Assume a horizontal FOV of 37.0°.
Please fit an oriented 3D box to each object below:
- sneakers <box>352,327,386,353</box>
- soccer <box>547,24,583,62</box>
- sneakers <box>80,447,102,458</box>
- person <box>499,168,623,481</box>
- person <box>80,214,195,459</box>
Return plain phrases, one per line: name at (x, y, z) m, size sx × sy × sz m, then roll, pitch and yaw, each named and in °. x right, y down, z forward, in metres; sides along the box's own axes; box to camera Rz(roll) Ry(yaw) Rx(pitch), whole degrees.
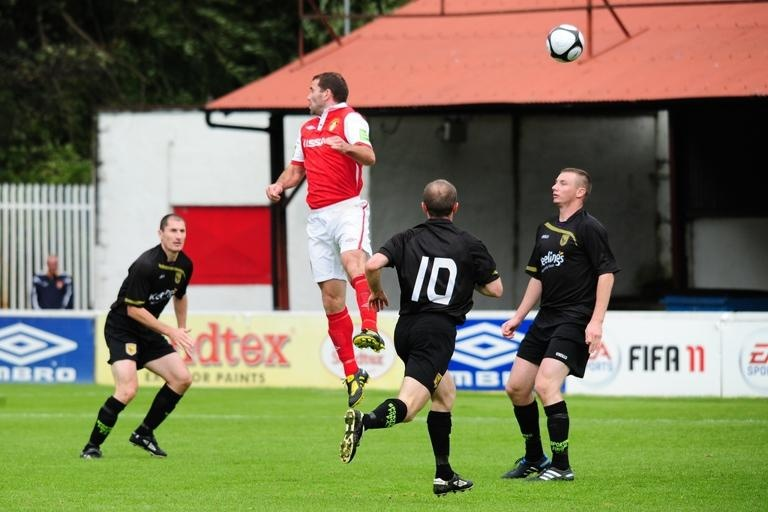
sneakers at (-0.154, 0.991, 13.713) m, size 0.364 × 0.208 × 0.214 m, roll 24°, pitch -33°, yaw -13°
soccer at (2.783, -3.337, 17.476) m, size 0.498 × 0.542 × 0.543 m, roll 19°, pitch 30°, yaw -8°
sneakers at (-3.729, 2.528, 14.682) m, size 0.232 × 0.183 × 0.137 m, roll -5°, pitch 3°, yaw 1°
person at (2.120, 0.826, 13.939) m, size 1.258 × 3.706 × 0.958 m, roll 0°, pitch 7°, yaw 8°
person at (-3.069, 1.033, 14.706) m, size 1.259 × 3.116 × 0.808 m, roll -2°, pitch 7°, yaw -10°
